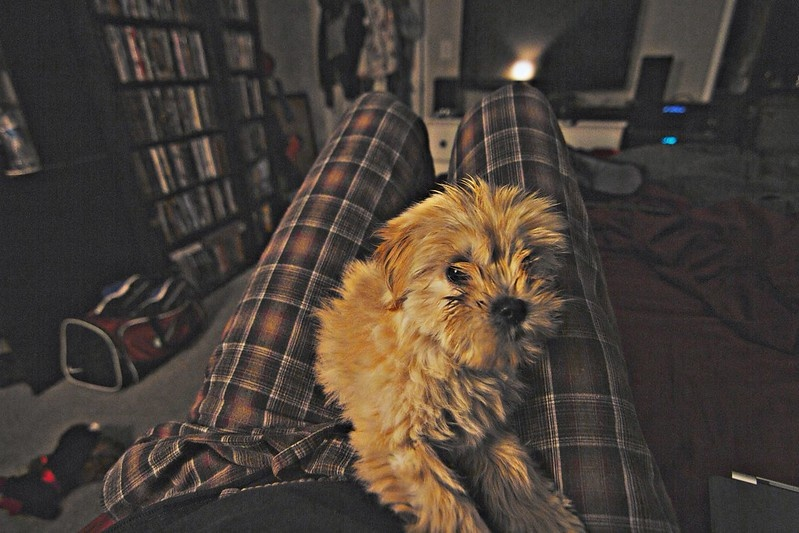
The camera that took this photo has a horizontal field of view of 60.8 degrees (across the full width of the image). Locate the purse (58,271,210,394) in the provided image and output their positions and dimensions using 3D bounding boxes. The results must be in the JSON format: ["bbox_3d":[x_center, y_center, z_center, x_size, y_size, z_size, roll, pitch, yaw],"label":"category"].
[{"bbox_3d":[-1.811,0.366,4.590,0.599,1.000,0.450,6,-67,21],"label":"purse"}]

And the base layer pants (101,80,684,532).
[{"bbox_3d":[-0.081,0.502,4.374,1.916,2.807,0.774,8,-17,8],"label":"base layer pants"}]
